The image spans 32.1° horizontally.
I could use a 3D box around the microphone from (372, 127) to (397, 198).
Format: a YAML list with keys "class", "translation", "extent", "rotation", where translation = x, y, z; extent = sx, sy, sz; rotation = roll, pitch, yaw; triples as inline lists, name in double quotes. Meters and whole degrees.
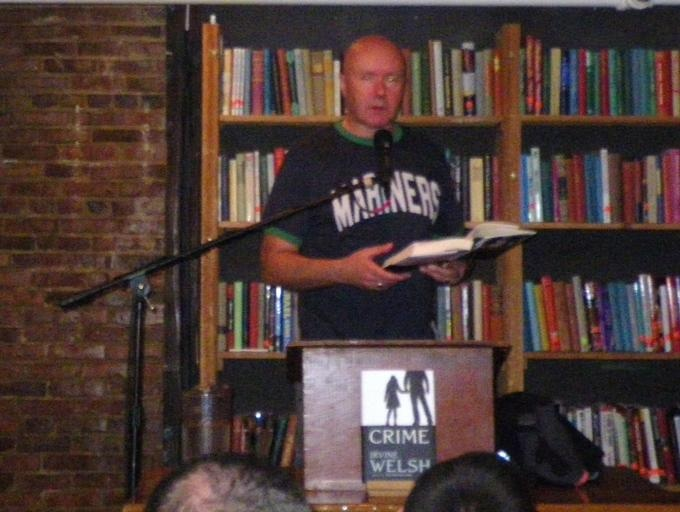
- class: "microphone"
  translation: [0.183, -0.353, 4.657]
  extent: [0.090, 0.250, 0.084]
  rotation: [0, 22, 1]
